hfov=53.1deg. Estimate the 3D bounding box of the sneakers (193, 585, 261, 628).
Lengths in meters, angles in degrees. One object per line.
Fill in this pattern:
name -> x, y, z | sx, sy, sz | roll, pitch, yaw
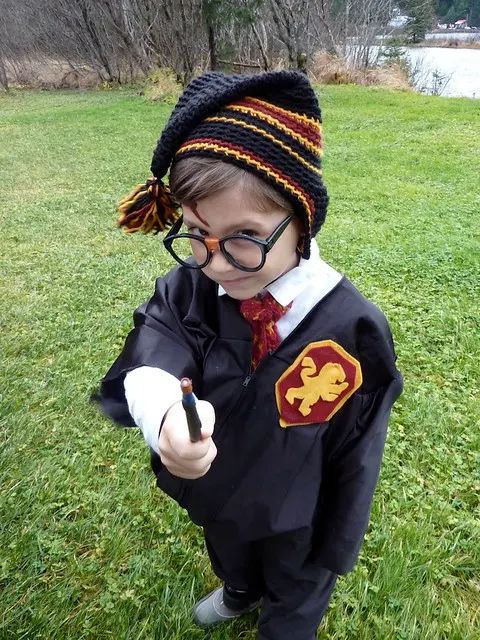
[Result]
sneakers -> -0.044, 1.103, 1.830 | 0.266, 0.247, 0.103 | -7, 57, -20
